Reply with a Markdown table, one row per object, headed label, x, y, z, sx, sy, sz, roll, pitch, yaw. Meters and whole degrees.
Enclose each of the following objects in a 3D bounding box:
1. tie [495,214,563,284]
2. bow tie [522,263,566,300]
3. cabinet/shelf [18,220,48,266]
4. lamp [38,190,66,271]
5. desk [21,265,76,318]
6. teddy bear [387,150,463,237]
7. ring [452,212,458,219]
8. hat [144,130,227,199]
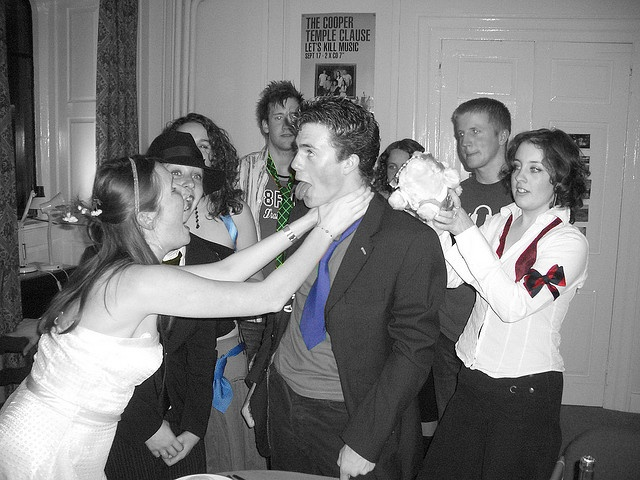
| label | x | y | z | sx | sy | sz | roll | pitch | yaw |
| --- | --- | --- | --- | --- | --- | --- | --- | --- | --- |
| tie | 1.023 | 0.046 | 2.516 | 0.141 | 0.279 | 0.264 | 27 | 2 | -45 |
| bow tie | 0.985 | 0.185 | 2.257 | 0.148 | 0.145 | 0.038 | 1 | -4 | 4 |
| cabinet/shelf | -2.567 | 0.025 | 4.602 | 0.238 | 0.397 | 0.387 | 0 | -1 | -1 |
| lamp | -2.289 | -0.059 | 4.386 | 0.201 | 0.664 | 0.142 | -6 | 6 | -42 |
| desk | -1.843 | 0.350 | 3.450 | 0.181 | 0.339 | 0.360 | 7 | 26 | 6 |
| teddy bear | 0.447 | -0.218 | 2.198 | 0.332 | 0.307 | 0.194 | -5 | 11 | -34 |
| ring | 0.594 | -0.109 | 2.263 | 0.028 | 0.030 | 0.008 | 6 | -6 | -25 |
| hat | -0.702 | -0.436 | 2.744 | 0.365 | 0.156 | 0.323 | 15 | -8 | 27 |
